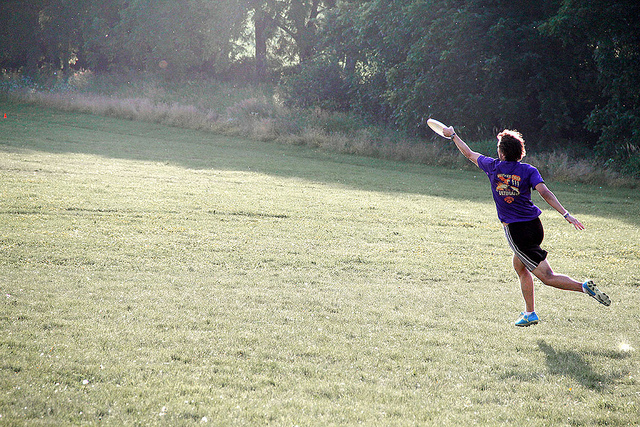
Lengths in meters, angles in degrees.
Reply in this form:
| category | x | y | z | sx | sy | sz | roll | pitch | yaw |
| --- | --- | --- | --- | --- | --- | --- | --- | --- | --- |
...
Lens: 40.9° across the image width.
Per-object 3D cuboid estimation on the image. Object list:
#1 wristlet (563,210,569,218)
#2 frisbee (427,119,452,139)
| category | x | y | z | sx | sy | sz | roll | pitch | yaw |
| --- | --- | --- | --- | --- | --- | --- | --- | --- | --- |
| wristlet | 8.359 | 0.003 | 29.242 | 0.295 | 0.111 | 0.261 | -28 | 34 | 36 |
| frisbee | 4.056 | -2.986 | 29.800 | 0.570 | 0.528 | 0.693 | 5 | 11 | 7 |
